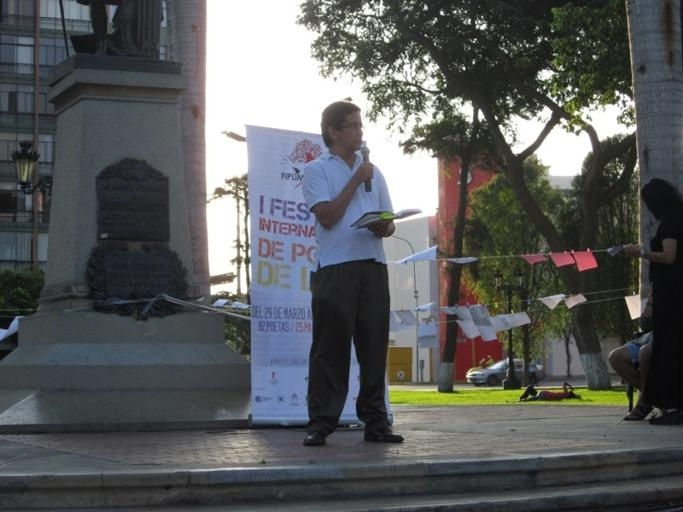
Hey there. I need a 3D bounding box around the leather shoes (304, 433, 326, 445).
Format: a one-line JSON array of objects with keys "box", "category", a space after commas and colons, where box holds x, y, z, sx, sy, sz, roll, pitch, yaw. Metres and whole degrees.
[{"box": [-0.403, 2.548, 20.246, 0.296, 0.139, 0.146, 2, -5, 16], "category": "leather shoes"}]

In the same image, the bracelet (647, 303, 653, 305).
[{"box": [4.746, 0.727, 22.200, 0.076, 0.023, 0.054, 5, -6, -31], "category": "bracelet"}]

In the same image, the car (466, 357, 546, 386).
[{"box": [7.563, 5.213, 64.609, 3.590, 1.165, 1.526, 3, -5, -27], "category": "car"}]

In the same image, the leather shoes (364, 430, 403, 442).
[{"box": [0.587, 2.539, 20.413, 0.517, 0.226, 0.194, -1, -6, 2], "category": "leather shoes"}]
